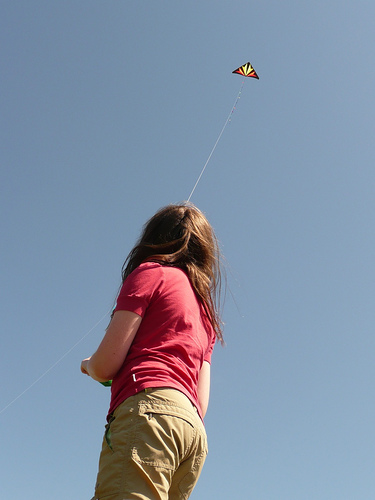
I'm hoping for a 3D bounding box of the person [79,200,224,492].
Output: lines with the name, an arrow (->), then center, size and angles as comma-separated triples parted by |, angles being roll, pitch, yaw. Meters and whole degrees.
person -> -0.062, 0.260, 2.388 | 0.474, 1.203, 0.329 | 29, -58, -16
